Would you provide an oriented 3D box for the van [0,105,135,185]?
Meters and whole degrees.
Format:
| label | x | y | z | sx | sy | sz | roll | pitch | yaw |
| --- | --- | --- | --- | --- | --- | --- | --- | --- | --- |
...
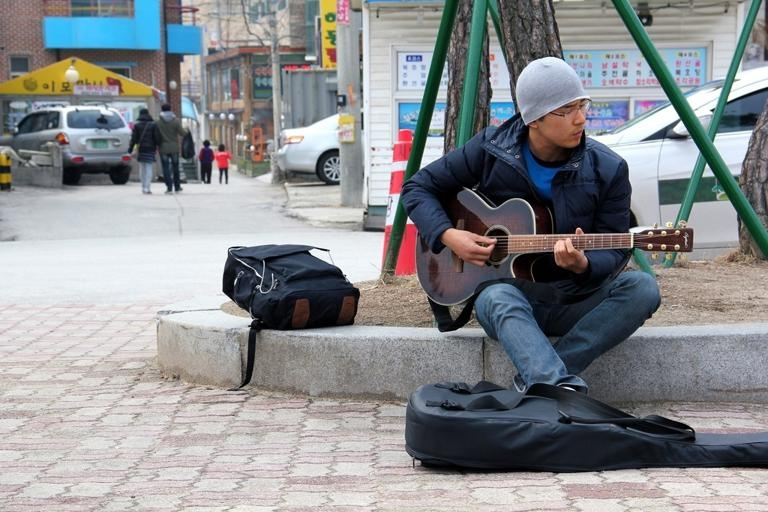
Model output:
| label | x | y | z | sx | sy | sz | roll | pitch | yaw |
| --- | --- | --- | --- | --- | --- | --- | --- | --- | --- |
| van | -6.768 | -2.513 | 27.886 | 1.630 | 1.186 | 3.027 | -2 | 11 | -36 |

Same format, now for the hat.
| label | x | y | z | sx | sy | sz | roll | pitch | yaw |
| --- | --- | --- | --- | --- | --- | --- | --- | --- | --- |
| hat | 1.318 | -1.345 | 10.321 | 0.595 | 0.422 | 0.540 | 9 | 26 | 30 |

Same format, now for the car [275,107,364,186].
| label | x | y | z | sx | sy | sz | roll | pitch | yaw |
| --- | --- | --- | --- | --- | --- | --- | --- | --- | --- |
| car | -1.567 | -2.168 | 26.967 | 1.243 | 1.461 | 1.069 | -2 | 11 | -5 |

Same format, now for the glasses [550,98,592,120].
| label | x | y | z | sx | sy | sz | roll | pitch | yaw |
| --- | --- | --- | --- | --- | --- | --- | --- | --- | --- |
| glasses | 1.458 | -1.159 | 10.309 | 0.225 | 0.058 | 0.221 | -17 | 12 | -38 |

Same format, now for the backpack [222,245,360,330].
| label | x | y | z | sx | sy | sz | roll | pitch | yaw |
| --- | --- | --- | --- | --- | --- | --- | --- | --- | --- |
| backpack | -0.793 | 0.264 | 11.041 | 0.755 | 0.400 | 0.992 | -6 | 20 | -33 |

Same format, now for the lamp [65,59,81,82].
| label | x | y | z | sx | sy | sz | roll | pitch | yaw |
| --- | --- | --- | --- | --- | --- | --- | --- | --- | --- |
| lamp | -7.318 | -4.316 | 30.430 | 0.351 | 0.585 | 0.778 | -4 | 11 | -13 |
